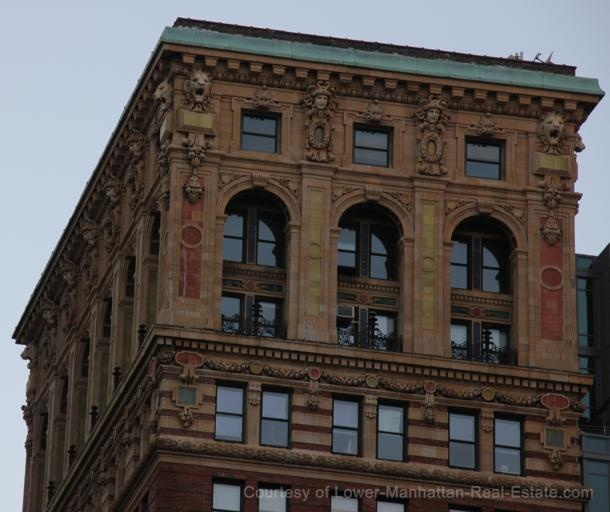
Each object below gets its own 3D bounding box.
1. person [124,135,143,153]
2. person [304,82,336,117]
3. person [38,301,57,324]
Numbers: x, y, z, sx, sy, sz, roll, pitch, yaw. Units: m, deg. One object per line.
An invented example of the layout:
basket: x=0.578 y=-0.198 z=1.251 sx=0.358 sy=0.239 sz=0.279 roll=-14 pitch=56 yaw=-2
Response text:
person: x=-8.811 y=-6.211 z=127.344 sx=0.803 sy=0.736 sz=1.007 roll=9 pitch=-21 yaw=-20
person: x=0.734 y=-8.183 z=122.903 sx=1.513 sy=1.777 sz=0.412 roll=7 pitch=-27 yaw=-18
person: x=-15.099 y=2.908 z=144.590 sx=0.385 sy=1.308 sz=0.914 roll=-1 pitch=-13 yaw=-39
